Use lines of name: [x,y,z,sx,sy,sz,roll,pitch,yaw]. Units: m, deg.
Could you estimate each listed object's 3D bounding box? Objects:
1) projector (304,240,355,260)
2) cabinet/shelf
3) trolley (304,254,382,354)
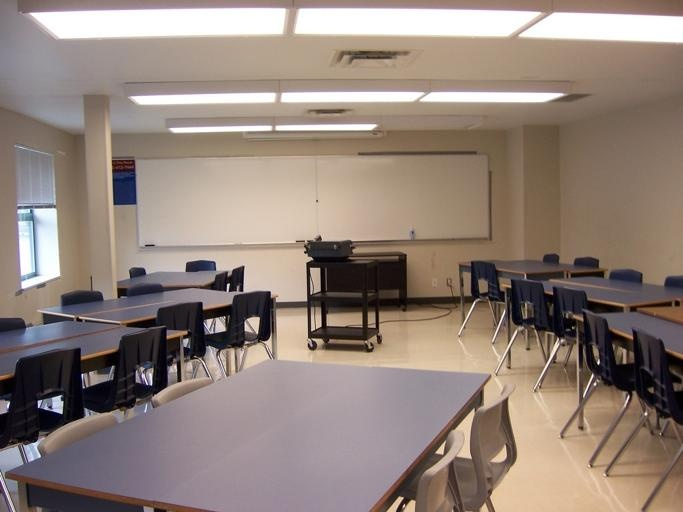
projector: [-0.162,-0.078,6.830,0.410,0.206,0.322,1,5,9]
cabinet/shelf: [0.126,0.603,8.157,0.965,1.414,2.081,0,4,12]
trolley: [0.017,0.684,7.086,0.931,1.264,0.754,0,2,20]
